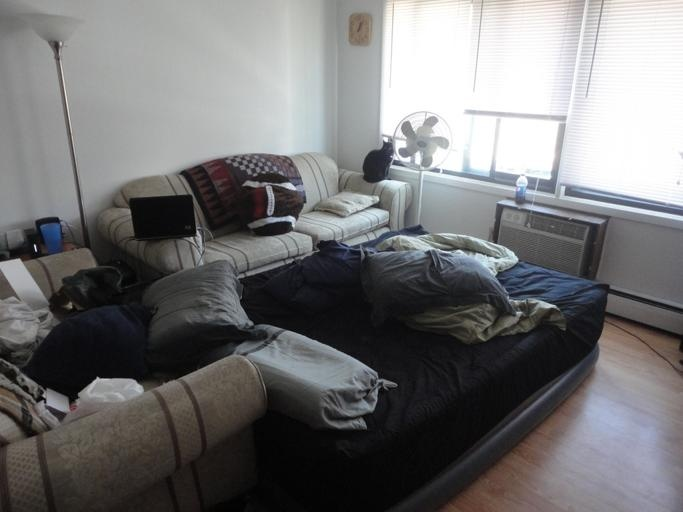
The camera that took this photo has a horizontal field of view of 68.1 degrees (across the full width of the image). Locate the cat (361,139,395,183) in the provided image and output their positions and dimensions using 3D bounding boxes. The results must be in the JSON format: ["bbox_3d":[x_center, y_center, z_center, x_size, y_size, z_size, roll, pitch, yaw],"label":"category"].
[{"bbox_3d":[0.344,-0.857,4.767,0.291,0.396,0.141,25,13,21],"label":"cat"}]

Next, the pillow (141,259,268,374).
[{"bbox_3d":[-0.832,0.270,2.657,0.581,0.180,0.654,-21,38,-1],"label":"pillow"}]

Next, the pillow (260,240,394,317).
[{"bbox_3d":[-0.100,0.126,3.057,0.531,0.214,0.395,-23,37,-36],"label":"pillow"}]

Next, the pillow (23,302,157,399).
[{"bbox_3d":[-1.147,0.433,2.324,0.498,0.378,0.154,-18,-7,-39],"label":"pillow"}]

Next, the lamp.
[{"bbox_3d":[-1.848,-0.972,3.409,0.184,0.891,0.182,3,15,15],"label":"lamp"}]

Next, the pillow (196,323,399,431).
[{"bbox_3d":[-0.135,0.556,2.243,0.554,0.139,0.457,20,21,11],"label":"pillow"}]

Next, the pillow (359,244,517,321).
[{"bbox_3d":[0.497,0.136,2.845,0.534,0.170,0.512,-7,33,-7],"label":"pillow"}]

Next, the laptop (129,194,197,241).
[{"bbox_3d":[-1.258,-0.254,3.521,0.416,0.282,0.312,-8,3,-31],"label":"laptop"}]
